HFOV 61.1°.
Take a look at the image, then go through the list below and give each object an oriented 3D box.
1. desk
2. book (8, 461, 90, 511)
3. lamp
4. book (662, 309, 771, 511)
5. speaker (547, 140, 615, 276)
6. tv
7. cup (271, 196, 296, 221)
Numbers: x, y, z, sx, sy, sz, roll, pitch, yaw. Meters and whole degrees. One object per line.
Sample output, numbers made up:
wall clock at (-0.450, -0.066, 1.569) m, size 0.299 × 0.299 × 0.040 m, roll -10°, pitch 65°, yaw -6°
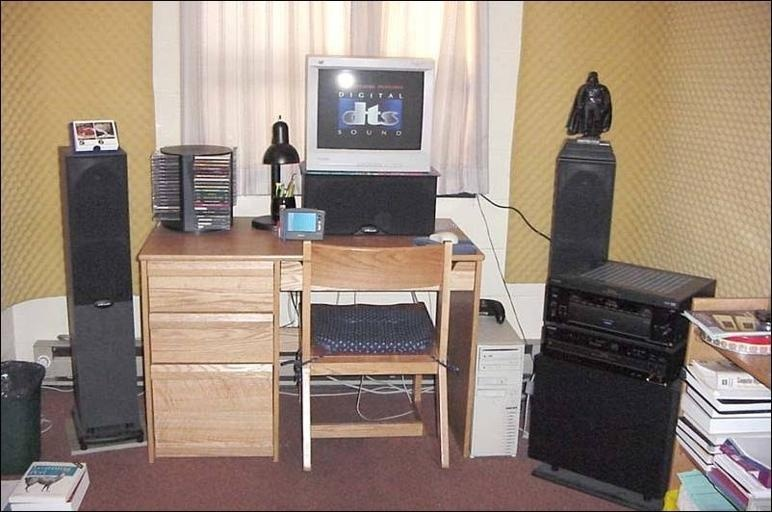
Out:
desk at (-0.387, 0.413, 3.190) m, size 1.360 × 0.820 × 0.489 m, roll 0°, pitch 10°, yaw -7°
book at (-1.548, 1.059, 2.979) m, size 0.342 × 0.159 × 0.265 m, roll -2°, pitch 11°, yaw -10°
lamp at (-0.579, -0.441, 3.436) m, size 0.257 × 0.571 × 0.405 m, roll -2°, pitch 12°, yaw -7°
book at (1.492, 0.654, 2.962) m, size 0.637 × 0.787 × 0.253 m, roll 2°, pitch 7°, yaw 16°
speaker at (0.911, -0.233, 3.145) m, size 0.326 × 0.655 × 0.169 m, roll -6°, pitch 13°, yaw -23°
tv at (0.005, -0.726, 3.359) m, size 0.719 × 0.567 × 0.380 m, roll 8°, pitch 13°, yaw 28°
cup at (-0.535, -0.251, 3.419) m, size 0.136 × 0.116 × 0.128 m, roll 1°, pitch 12°, yaw 0°
